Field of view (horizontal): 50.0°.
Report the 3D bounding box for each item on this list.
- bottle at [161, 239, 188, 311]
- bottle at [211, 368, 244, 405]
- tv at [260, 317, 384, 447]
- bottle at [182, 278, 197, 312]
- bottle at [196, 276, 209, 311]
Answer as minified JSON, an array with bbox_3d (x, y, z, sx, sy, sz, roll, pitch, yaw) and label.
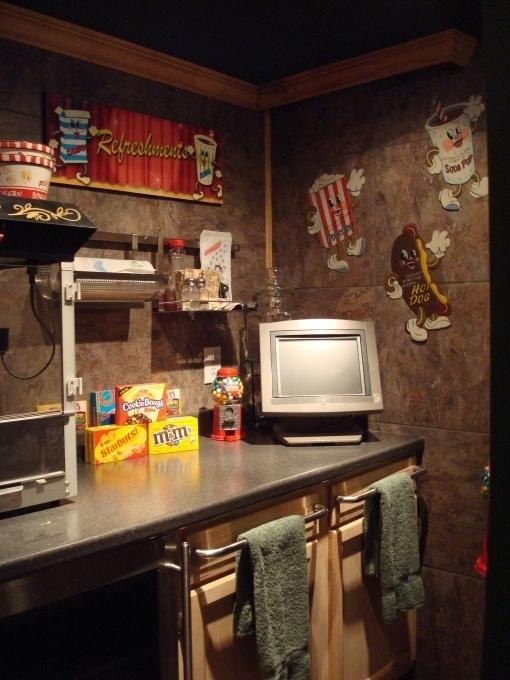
[{"bbox_3d":[-0.299,-0.238,2.035,0.106,0.232,0.193,-4,-1,-6],"label":"bottle"},{"bbox_3d":[-0.101,0.174,1.984,0.111,0.155,0.119,0,-8,0],"label":"bottle"},{"bbox_3d":[0.180,0.088,2.079,0.526,0.606,0.384,-1,-7,-2],"label":"tv"},{"bbox_3d":[-0.231,-0.161,1.922,0.052,0.108,0.049,-4,-1,0],"label":"bottle"},{"bbox_3d":[-0.187,-0.169,1.952,0.039,0.121,0.087,-4,-1,-3],"label":"bottle"}]
